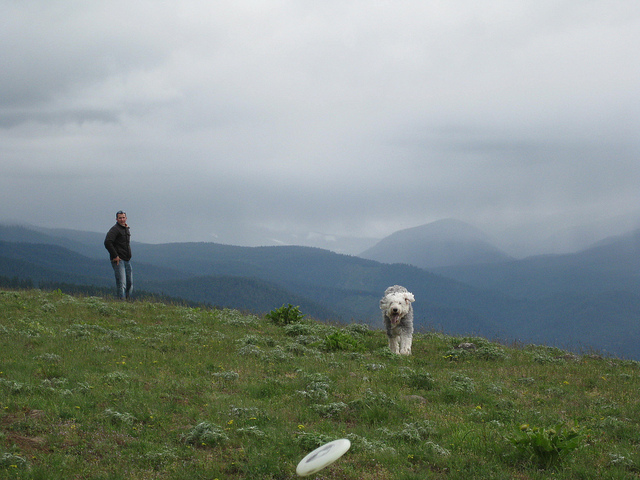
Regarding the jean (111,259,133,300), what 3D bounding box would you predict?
[{"bbox_3d":[-8.760,1.755,35.643,0.800,1.736,1.966,4,-1,-11],"label":"jean"}]
